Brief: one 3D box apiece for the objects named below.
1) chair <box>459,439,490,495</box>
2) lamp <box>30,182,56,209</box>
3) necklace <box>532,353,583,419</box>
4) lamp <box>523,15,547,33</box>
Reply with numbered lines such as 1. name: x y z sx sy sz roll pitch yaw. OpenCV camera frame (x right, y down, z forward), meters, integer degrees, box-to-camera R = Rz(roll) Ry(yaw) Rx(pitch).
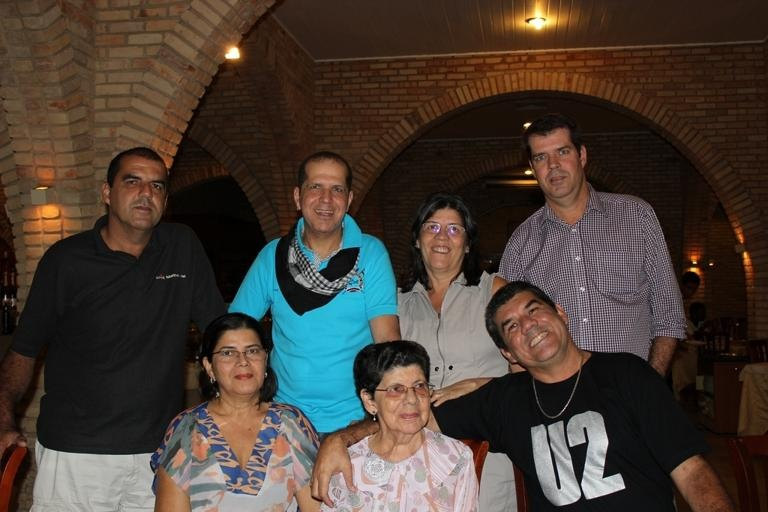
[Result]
1. chair: 0.530 1.157 3.165 0.229 0.269 0.200 -2 -5 14
2. lamp: -3.172 -0.567 5.339 0.208 0.208 0.204 3 0 0
3. necklace: 0.956 0.715 3.163 0.208 0.321 0.074 -5 -8 26
4. lamp: 2.262 -3.434 8.505 0.321 0.075 0.458 -5 -11 18
